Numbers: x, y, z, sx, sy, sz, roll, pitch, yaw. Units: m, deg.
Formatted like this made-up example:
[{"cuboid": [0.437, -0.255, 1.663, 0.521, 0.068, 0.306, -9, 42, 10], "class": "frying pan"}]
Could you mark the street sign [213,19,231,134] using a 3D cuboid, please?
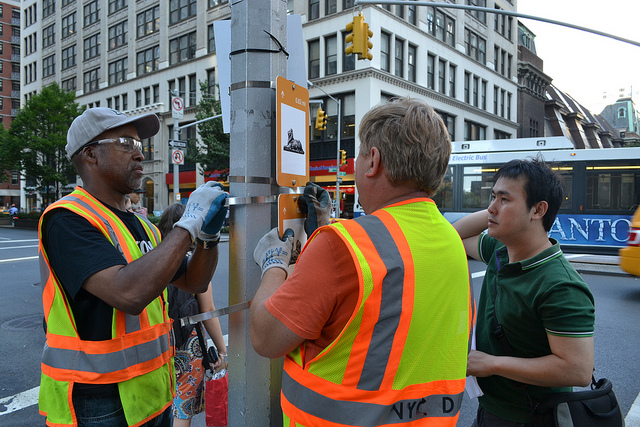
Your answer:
[{"cuboid": [-0.730, -1.044, 4.191, 0.174, 0.852, 0.086, 0, 0, 37], "class": "street sign"}]

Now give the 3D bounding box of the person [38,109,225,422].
[{"cuboid": [-1.495, 0.408, 4.225, 1.215, 2.472, 0.725, 0, 0, 19], "class": "person"}]

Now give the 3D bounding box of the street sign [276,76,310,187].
[{"cuboid": [-0.197, -0.584, 4.052, 0.029, 0.778, 0.310, 0, 0, 43], "class": "street sign"}]

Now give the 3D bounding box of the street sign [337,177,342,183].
[{"cuboid": [0.940, -1.643, 26.177, 0.219, 0.314, 0.424, 2, -5, 4], "class": "street sign"}]

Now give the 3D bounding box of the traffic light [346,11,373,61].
[{"cuboid": [0.941, -4.245, 13.200, 0.721, 1.107, 0.233, 3, -11, -11], "class": "traffic light"}]
